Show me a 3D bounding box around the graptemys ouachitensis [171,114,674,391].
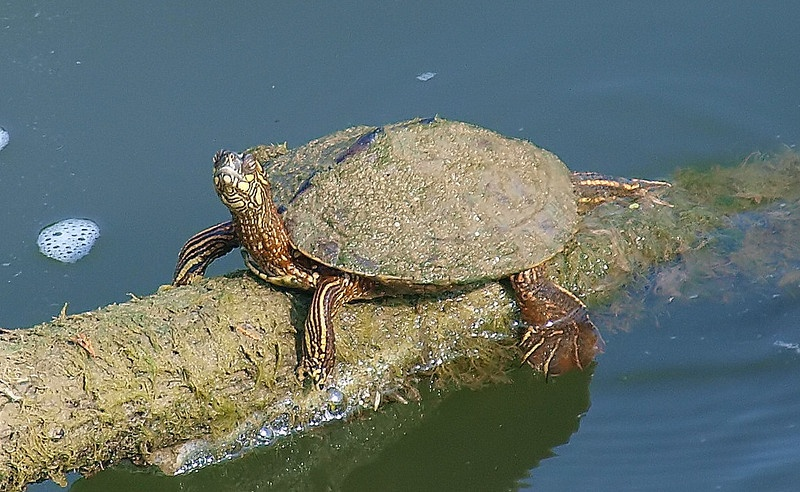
[{"bbox_3d":[0.123,0.294,15.945,7.293,3.206,3.638,-5,26,-11],"label":"graptemys ouachitensis"}]
